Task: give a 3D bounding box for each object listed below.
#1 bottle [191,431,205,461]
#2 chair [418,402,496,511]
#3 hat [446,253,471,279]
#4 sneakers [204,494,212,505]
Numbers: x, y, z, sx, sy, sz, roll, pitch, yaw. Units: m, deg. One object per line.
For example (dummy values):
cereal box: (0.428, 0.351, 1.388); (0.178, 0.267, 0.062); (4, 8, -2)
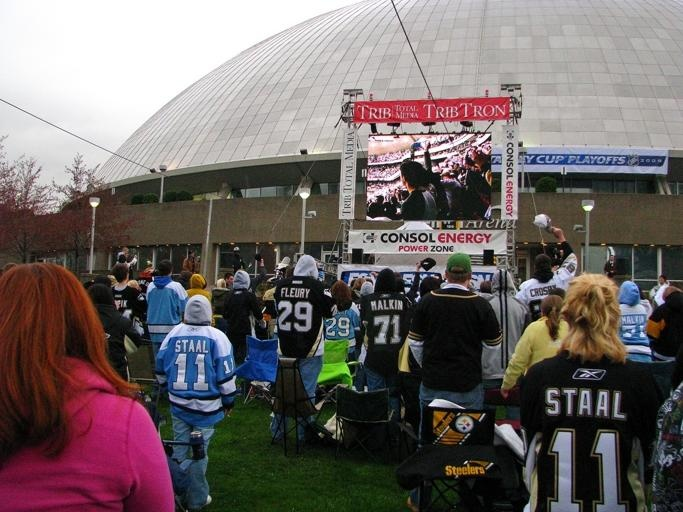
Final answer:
bottle: (-1.470, 1.938, 8.182); (0.128, 0.385, 0.337); (-1, 5, -9)
chair: (1.164, 1.988, 8.086); (0.872, 1.273, 0.925); (2, -8, 10)
hat: (1.346, 0.095, 9.095); (0.265, 0.257, 0.255); (0, 5, 5)
sneakers: (-1.468, 2.678, 8.820); (0.037, 0.080, 0.116); (7, 12, 7)
